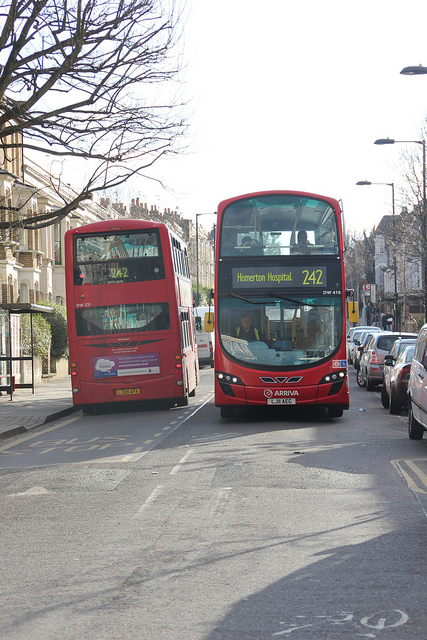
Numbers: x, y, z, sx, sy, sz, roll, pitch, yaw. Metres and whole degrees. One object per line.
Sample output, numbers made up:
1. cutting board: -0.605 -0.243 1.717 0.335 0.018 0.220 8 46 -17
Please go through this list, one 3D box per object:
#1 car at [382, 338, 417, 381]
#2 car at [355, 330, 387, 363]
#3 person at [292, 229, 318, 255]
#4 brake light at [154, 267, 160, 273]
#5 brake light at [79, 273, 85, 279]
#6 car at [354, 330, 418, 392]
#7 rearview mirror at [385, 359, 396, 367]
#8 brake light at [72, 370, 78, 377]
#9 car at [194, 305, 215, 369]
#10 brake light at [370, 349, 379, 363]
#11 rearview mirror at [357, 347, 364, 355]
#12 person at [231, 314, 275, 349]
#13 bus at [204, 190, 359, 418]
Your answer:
1. car: 4.504 0.960 18.987 0.907 0.846 1.545 -1 -1 1
2. car: 6.778 1.140 33.916 1.317 1.338 2.414 0 2 2
3. person: 1.856 -1.575 15.633 0.404 0.881 0.283 -3 -31 1
4. brake light: -1.379 -1.200 18.374 0.121 0.122 0.033 6 -1 9
5. brake light: -3.171 -1.063 18.313 0.115 0.116 0.028 -2 -1 6
6. car: 5.625 1.195 24.977 1.406 1.265 2.655 0 2 0
7. rearview mirror: 3.994 0.973 17.239 0.137 0.180 0.065 5 22 2
8. brake light: -3.329 1.291 18.290 0.121 0.144 0.069 -2 1 -9
9. car: -0.482 1.281 42.508 1.400 1.962 3.790 -1 -4 0
10. brake light: 5.075 1.140 23.989 0.159 0.277 0.516 -2 0 -7
11. rearview mirror: 5.200 1.090 26.925 0.303 0.415 0.214 0 3 12
12. person: 0.826 0.260 15.500 0.626 0.898 0.273 -3 -12 -14
13. bus: 1.309 -0.421 14.015 2.090 3.035 5.819 -1 -5 3
